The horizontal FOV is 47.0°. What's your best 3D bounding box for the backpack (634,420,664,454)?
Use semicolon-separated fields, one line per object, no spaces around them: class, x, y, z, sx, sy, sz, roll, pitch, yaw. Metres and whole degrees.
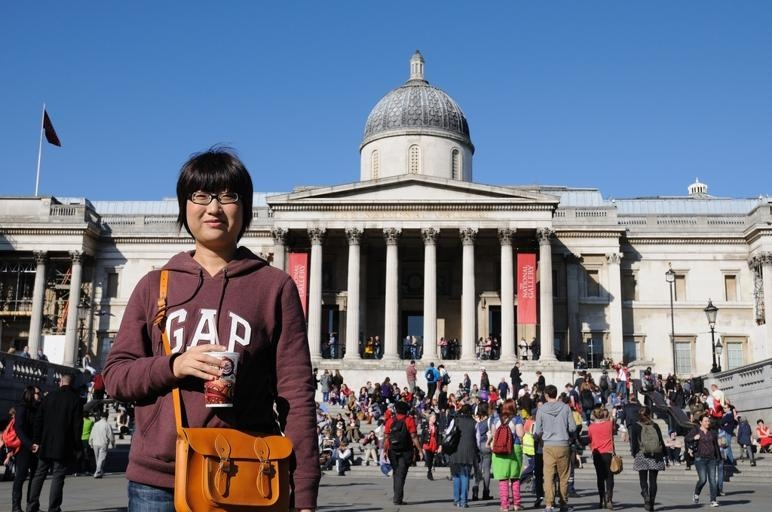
backpack;7.062;4.991;23.814;0.632;0.875;0.484;-5;-10;1

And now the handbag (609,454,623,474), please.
handbag;6.040;5.546;23.309;0.282;0.482;0.418;-3;-10;8

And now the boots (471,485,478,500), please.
boots;2.535;6.921;25.344;0.164;0.208;0.493;-2;-34;3

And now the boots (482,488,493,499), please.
boots;2.922;6.958;25.558;0.261;0.288;0.511;-2;-9;6

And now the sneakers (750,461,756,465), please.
sneakers;13.362;7.693;32.273;0.167;0.091;0.160;9;28;20

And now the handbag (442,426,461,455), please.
handbag;1.775;5.097;24.194;0.397;0.697;0.253;26;-21;-10

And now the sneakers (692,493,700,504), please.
sneakers;8.754;6.907;24.943;0.178;0.226;0.528;2;-1;6
